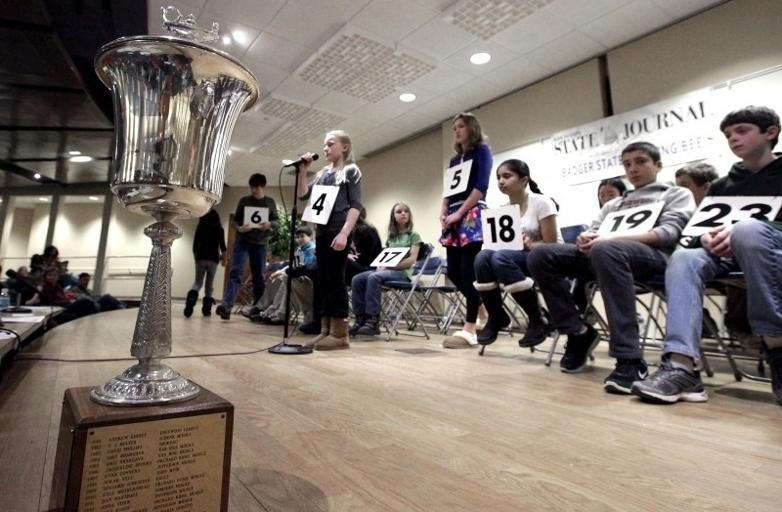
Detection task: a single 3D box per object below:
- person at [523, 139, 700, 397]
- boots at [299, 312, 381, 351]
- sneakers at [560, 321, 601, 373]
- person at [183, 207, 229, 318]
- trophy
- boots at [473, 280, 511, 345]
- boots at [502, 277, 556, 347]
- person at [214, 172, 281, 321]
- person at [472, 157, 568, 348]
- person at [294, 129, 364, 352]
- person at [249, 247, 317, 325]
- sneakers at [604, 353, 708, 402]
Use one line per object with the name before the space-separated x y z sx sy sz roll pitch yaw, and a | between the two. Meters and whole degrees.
person | 1.132 0.041 2.471 0.713 1.409 0.555 1 -1 -28
boots | -0.285 0.568 3.353 0.639 0.265 0.201 4 -10 -33
sneakers | 0.988 0.529 2.529 0.218 0.215 0.253 16 -27 0
person | -2.214 0.069 5.413 0.419 1.299 0.714 -2 -7 13
trophy | -0.605 -0.123 1.319 0.449 0.988 0.367 -2 6 -21
boots | 0.628 0.342 2.973 0.233 0.398 0.208 -3 16 -4
boots | 0.802 0.337 2.752 0.376 0.386 0.177 -7 -21 -48
person | -1.496 -0.152 5.009 0.510 1.696 0.560 6 -1 -34
person | 0.780 -0.012 3.026 0.610 1.198 0.492 2 -1 -36
person | -0.416 -0.097 3.167 0.507 1.426 0.527 1 -1 -30
person | -1.045 0.187 4.745 0.702 0.961 0.346 -4 9 -42
sneakers | 1.172 0.524 1.941 0.330 0.178 0.118 -1 6 -14
